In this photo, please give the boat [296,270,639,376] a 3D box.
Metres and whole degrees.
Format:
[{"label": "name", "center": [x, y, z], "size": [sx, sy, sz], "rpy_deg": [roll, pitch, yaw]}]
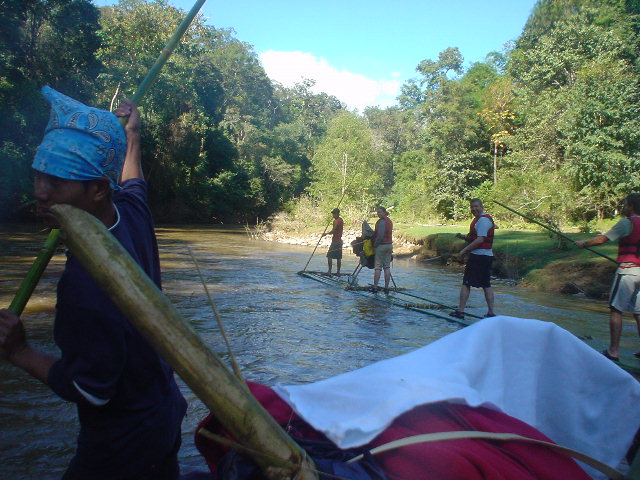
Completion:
[{"label": "boat", "center": [1.914, 1.430, 12.128], "size": [1.757, 0.183, 8.606], "rpy_deg": [3, 6, -36]}]
